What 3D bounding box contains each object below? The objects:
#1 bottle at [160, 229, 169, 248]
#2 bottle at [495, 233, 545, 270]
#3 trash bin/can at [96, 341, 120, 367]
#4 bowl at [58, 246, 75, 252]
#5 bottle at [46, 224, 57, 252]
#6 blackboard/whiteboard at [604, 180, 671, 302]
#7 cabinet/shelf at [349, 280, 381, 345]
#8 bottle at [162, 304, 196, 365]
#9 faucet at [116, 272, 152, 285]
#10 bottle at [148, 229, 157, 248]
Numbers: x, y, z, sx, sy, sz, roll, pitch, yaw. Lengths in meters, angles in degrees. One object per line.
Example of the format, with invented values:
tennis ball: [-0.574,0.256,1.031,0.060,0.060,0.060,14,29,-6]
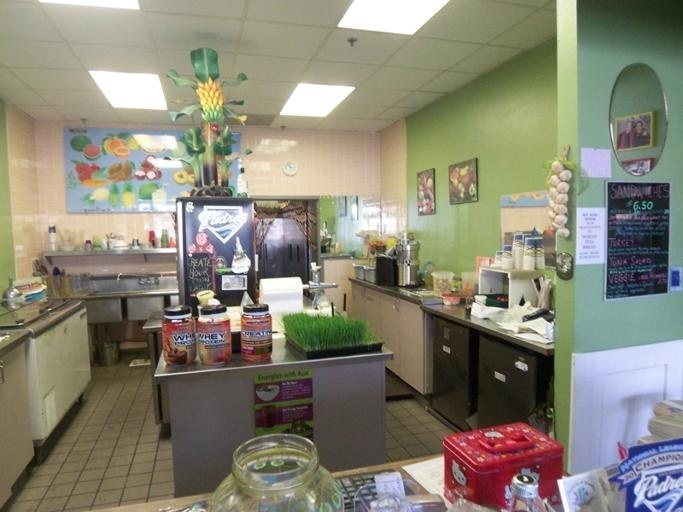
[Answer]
bottle: [-2.196,-0.218,6.196,0.107,0.207,0.200,-3,9,-20]
bottle: [1.454,-0.054,4.103,0.310,0.310,0.407,0,9,-2]
trash bin/can: [-2.761,1.153,6.020,0.256,0.253,0.295,7,11,38]
bowl: [-3.208,-0.084,5.846,0.140,0.070,0.193,-4,10,-29]
bottle: [-3.385,-0.220,5.863,0.102,0.294,0.228,-4,10,-30]
blackboard/whiteboard: [1.764,-0.099,3.003,0.476,0.686,0.075,-2,9,-19]
cabinet/shelf: [0.230,0.502,4.696,0.225,0.564,0.600,1,1,-13]
bottle: [-0.838,0.404,2.566,0.166,0.304,0.122,-1,9,-14]
faucet: [-2.470,0.284,6.056,0.448,0.173,0.150,2,-5,-15]
bottle: [-2.341,-0.224,6.197,0.097,0.203,0.169,-4,9,-27]
